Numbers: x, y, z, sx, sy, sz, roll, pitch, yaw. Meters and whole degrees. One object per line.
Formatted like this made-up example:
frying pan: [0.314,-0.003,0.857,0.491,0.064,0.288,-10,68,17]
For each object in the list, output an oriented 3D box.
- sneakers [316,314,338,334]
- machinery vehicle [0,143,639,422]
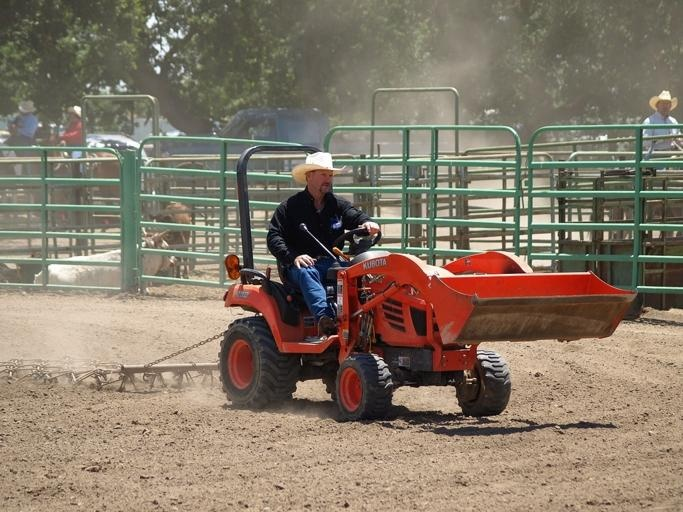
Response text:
sneakers: [-0.128,0.643,9.147,0.181,0.219,0.205,0,11,1]
machinery vehicle: [0.107,0.466,9.900,2.106,1.878,4.742,3,-4,-43]
